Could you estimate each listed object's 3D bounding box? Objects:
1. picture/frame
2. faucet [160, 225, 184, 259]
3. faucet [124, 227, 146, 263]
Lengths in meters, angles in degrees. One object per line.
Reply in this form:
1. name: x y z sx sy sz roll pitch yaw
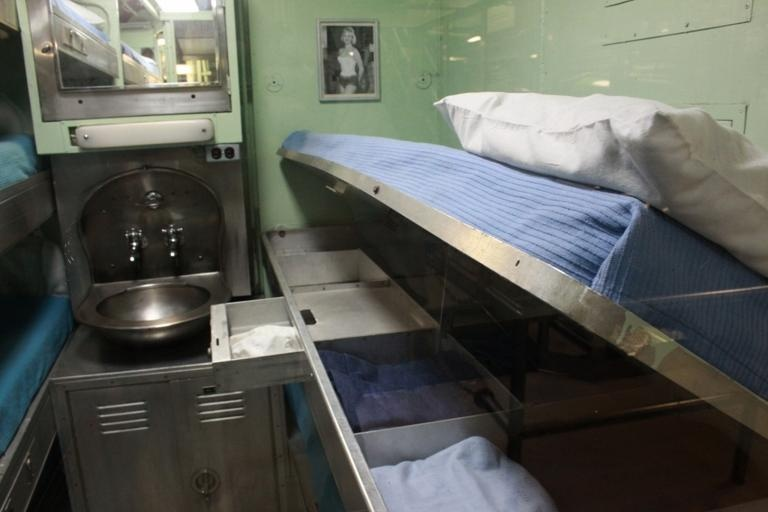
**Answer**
1. picture/frame: -0.171 -0.922 2.664 0.382 0.421 0.033 -2 24 -5
2. faucet: -0.926 -0.065 2.555 0.076 0.103 0.178 0 33 -14
3. faucet: -1.081 -0.039 2.529 0.081 0.162 0.091 -10 21 -22
